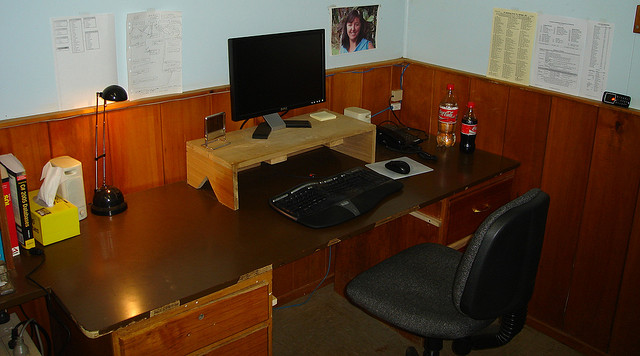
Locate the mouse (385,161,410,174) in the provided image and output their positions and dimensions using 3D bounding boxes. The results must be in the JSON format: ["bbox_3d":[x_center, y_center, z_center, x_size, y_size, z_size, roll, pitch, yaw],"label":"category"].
[{"bbox_3d":[0.484,-0.075,2.796,0.130,0.040,0.076,18,36,28],"label":"mouse"}]

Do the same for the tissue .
[{"bbox_3d":[-1.358,0.141,2.320,0.267,0.337,0.338,-11,25,-41],"label":"tissue "}]

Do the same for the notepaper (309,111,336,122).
[{"bbox_3d":[0.016,-0.419,2.957,0.103,0.019,0.096,-10,25,-25],"label":"notepaper"}]

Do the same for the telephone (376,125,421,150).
[{"bbox_3d":[0.533,-0.283,3.095,0.207,0.061,0.221,16,26,23],"label":"telephone"}]

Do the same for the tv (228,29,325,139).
[{"bbox_3d":[-0.274,-0.592,2.723,0.622,0.510,0.220,-18,31,-32],"label":"tv"}]
